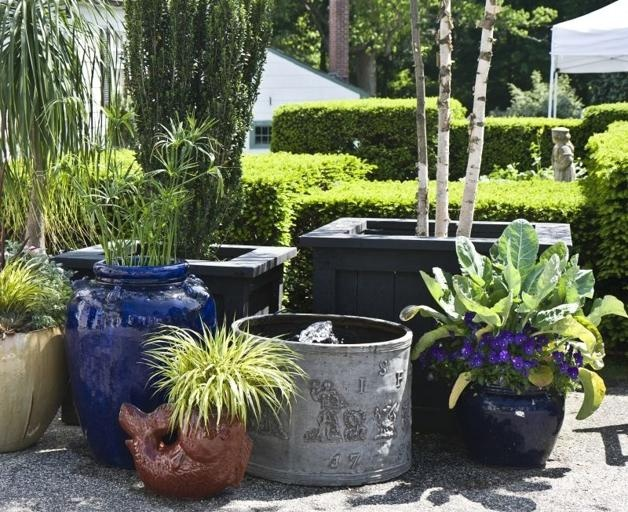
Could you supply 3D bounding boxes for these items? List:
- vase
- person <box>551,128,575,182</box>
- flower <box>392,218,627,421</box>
[{"bbox_3d":[1.116,0.942,4.616,0.488,0.486,0.590,-1,-1,3],"label":"vase"},{"bbox_3d":[2.840,-1.046,9.330,0.220,0.845,0.401,-5,15,7],"label":"person"},{"bbox_3d":[1.092,0.366,4.463,1.090,1.068,0.482,2,12,6],"label":"flower"}]
